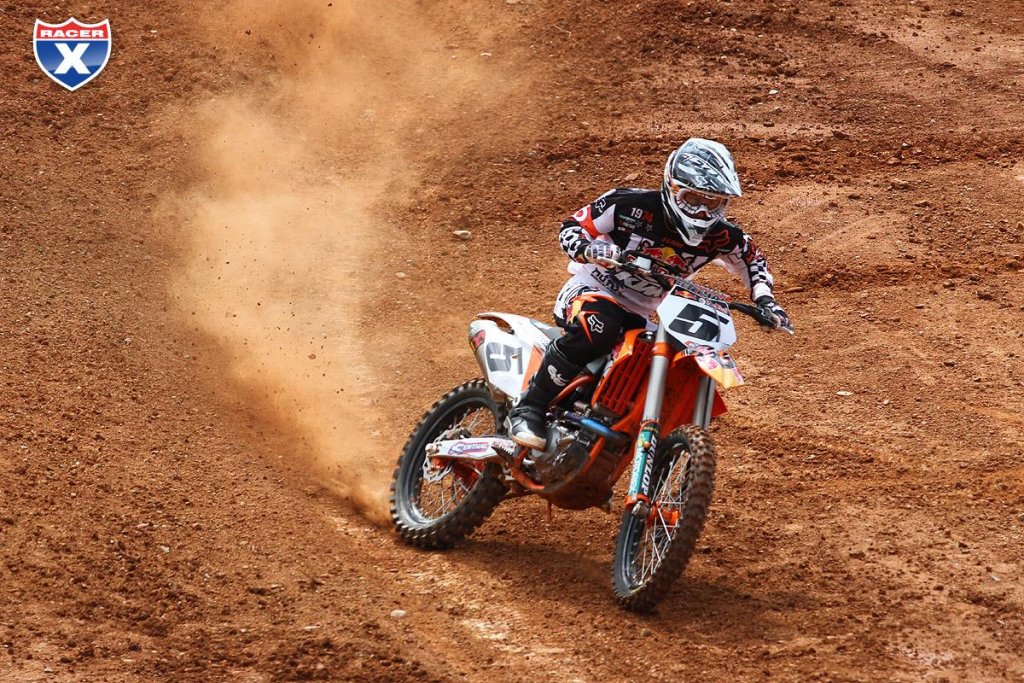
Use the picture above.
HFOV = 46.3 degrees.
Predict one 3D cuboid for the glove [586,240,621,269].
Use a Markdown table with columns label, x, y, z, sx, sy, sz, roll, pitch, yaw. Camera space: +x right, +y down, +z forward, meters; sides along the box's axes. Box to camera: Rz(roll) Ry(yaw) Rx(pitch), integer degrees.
| label | x | y | z | sx | sy | sz | roll | pitch | yaw |
| --- | --- | --- | --- | --- | --- | --- | --- | --- | --- |
| glove | 0.710 | -0.666 | 9.182 | 0.265 | 0.200 | 0.182 | 22 | 45 | 21 |
